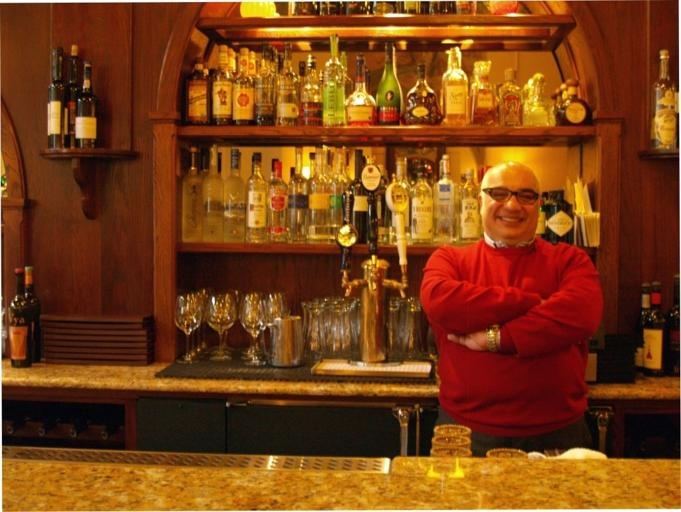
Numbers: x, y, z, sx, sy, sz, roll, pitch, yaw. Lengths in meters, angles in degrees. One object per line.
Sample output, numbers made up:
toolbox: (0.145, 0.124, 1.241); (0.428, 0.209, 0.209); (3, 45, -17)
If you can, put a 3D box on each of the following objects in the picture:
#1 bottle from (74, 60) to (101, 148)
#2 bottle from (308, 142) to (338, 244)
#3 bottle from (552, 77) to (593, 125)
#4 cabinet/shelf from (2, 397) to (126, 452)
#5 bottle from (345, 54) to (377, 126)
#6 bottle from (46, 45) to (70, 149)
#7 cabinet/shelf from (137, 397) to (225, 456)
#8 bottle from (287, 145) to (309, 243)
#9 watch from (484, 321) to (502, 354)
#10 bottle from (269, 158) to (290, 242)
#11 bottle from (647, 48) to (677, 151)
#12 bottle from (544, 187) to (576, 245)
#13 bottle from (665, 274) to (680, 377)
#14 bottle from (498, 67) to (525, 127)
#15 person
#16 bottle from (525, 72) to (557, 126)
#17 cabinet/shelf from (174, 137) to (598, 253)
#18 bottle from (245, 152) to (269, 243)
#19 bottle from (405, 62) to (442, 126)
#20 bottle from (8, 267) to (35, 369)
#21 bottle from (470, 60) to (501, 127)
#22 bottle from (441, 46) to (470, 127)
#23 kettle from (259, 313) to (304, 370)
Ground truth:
bottle: (-1.254, -0.736, 3.501); (0.109, 0.422, 0.196); (-1, 4, -19)
bottle: (-0.094, -0.302, 3.509); (0.142, 0.459, 0.178); (0, 3, -2)
bottle: (1.120, -0.736, 3.451); (0.172, 0.233, 0.236); (1, 4, 14)
cabinet/shelf: (-1.276, 0.779, 3.272); (0.543, 0.257, 0.381); (-1, 4, -18)
bottle: (0.098, -0.782, 3.449); (0.141, 0.321, 0.311); (1, 4, 3)
bottle: (-1.379, -0.761, 3.465); (0.084, 0.491, 0.078); (0, 3, 0)
cabinet/shelf: (-0.691, 0.731, 3.085); (0.349, 0.269, 0.221); (1, -10, -1)
bottle: (-0.209, -0.238, 3.476); (0.094, 0.331, 0.089); (0, 3, 0)
watch: (0.585, 0.315, 2.778); (0.078, 0.086, 0.073); (1, -1, 5)
bottle: (-0.303, -0.270, 3.516); (0.115, 0.390, 0.143); (3, 4, 41)
bottle: (1.501, -0.709, 3.303); (0.112, 0.456, 0.127); (1, 3, 17)
bottle: (1.026, -0.185, 3.390); (0.137, 0.263, 0.147); (-2, 1, 0)
bottle: (1.542, 0.311, 3.302); (0.058, 0.442, 0.337); (2, 4, 26)
bottle: (0.819, -0.775, 3.409); (0.115, 0.302, 0.115); (-8, 41, 7)
person: (0.677, 0.204, 2.854); (0.687, 1.161, 0.337); (1, 3, 15)
bottle: (0.943, -0.733, 3.393); (0.146, 0.249, 0.208); (1, 4, 14)
cabinet/shelf: (0.150, -0.284, 3.300); (1.999, 0.508, 0.341); (2, 10, 22)
bottle: (-0.421, -0.295, 3.541); (0.108, 0.439, 0.249); (0, 3, -8)
bottle: (0.390, -0.762, 3.409); (0.156, 0.276, 0.171); (0, 3, 0)
bottle: (-1.524, 0.286, 3.385); (0.098, 0.443, 0.224); (-1, 4, -27)
bottle: (0.689, -0.772, 3.430); (0.135, 0.301, 0.180); (1, 4, 9)
bottle: (0.559, -0.842, 3.486); (0.136, 0.425, 0.317); (1, 4, 8)
kettle: (-0.293, 0.398, 3.291); (0.223, 0.239, 0.145); (-4, 10, -43)
